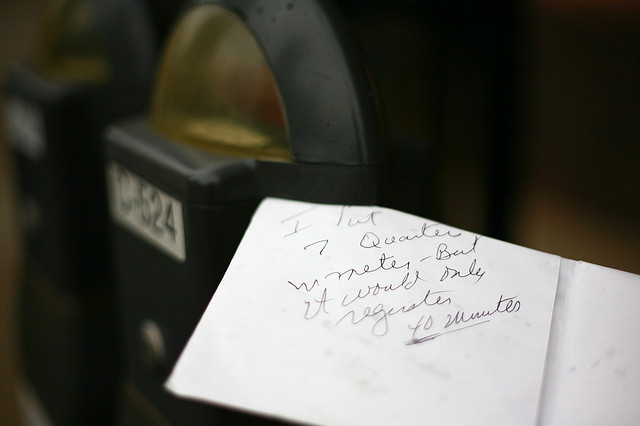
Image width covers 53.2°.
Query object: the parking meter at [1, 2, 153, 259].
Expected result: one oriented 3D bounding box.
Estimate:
[{"bbox_3d":[-0.309,-0.118,0.810,0.143,0.473,0.100,-9,31,-35],"label":"parking meter"}]
